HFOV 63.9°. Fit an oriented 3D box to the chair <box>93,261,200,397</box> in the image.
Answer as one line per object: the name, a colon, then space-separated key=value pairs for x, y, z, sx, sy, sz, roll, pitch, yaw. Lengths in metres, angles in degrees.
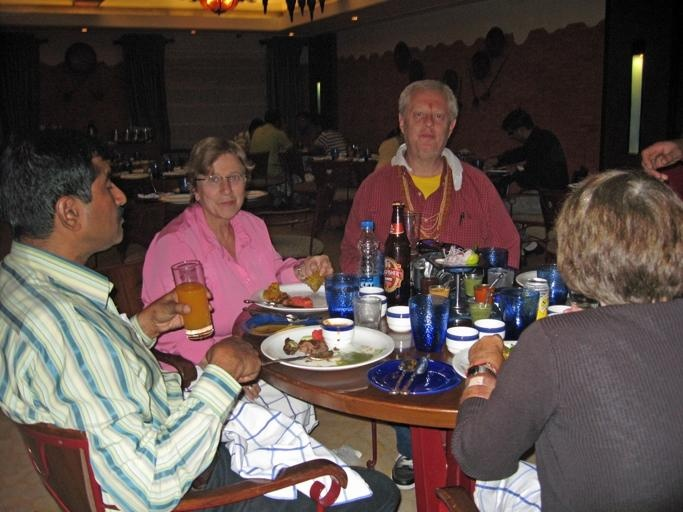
chair: x=-0.590 y=0.231 z=1.706 sx=0.281 sy=0.412 sz=0.253 roll=4 pitch=33 yaw=8

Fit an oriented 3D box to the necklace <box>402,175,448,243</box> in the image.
necklace: x=0.442 y=-0.265 z=2.863 sx=0.247 sy=0.351 sz=0.174 roll=-1 pitch=9 yaw=8

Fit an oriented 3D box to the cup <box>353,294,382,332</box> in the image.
cup: x=0.090 y=0.192 z=1.851 sx=0.102 sy=0.116 sz=0.107 roll=-2 pitch=6 yaw=0

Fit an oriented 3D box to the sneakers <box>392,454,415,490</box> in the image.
sneakers: x=0.273 y=0.983 z=2.586 sx=0.129 sy=0.131 sz=0.310 roll=0 pitch=-2 yaw=3

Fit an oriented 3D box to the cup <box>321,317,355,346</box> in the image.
cup: x=-0.012 y=0.237 z=1.715 sx=0.080 sy=0.060 sz=0.086 roll=0 pitch=-5 yaw=0

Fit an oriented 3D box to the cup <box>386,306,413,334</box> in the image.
cup: x=0.193 y=0.211 z=1.814 sx=0.079 sy=0.064 sz=0.090 roll=0 pitch=-3 yaw=8

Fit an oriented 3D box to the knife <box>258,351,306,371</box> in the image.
knife: x=-0.178 y=0.319 z=1.649 sx=0.181 sy=0.027 sz=0.027 roll=-6 pitch=46 yaw=-17

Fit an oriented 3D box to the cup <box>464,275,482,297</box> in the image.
cup: x=0.461 y=0.106 z=1.940 sx=0.069 sy=0.077 sz=0.075 roll=0 pitch=1 yaw=0

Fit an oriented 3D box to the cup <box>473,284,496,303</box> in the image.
cup: x=0.466 y=0.123 z=1.772 sx=0.055 sy=0.060 sz=0.057 roll=1 pitch=-4 yaw=0

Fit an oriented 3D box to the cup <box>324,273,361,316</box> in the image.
cup: x=0.003 y=0.132 z=1.948 sx=0.137 sy=0.159 sz=0.140 roll=0 pitch=4 yaw=0

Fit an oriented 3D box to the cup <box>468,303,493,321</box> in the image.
cup: x=0.449 y=0.178 z=1.756 sx=0.056 sy=0.047 sz=0.061 roll=1 pitch=-4 yaw=0

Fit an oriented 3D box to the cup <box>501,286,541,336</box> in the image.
cup: x=0.561 y=0.178 z=1.806 sx=0.139 sy=0.161 sz=0.144 roll=0 pitch=4 yaw=0

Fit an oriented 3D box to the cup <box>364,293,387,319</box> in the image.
cup: x=0.115 y=0.178 z=1.937 sx=0.072 sy=0.063 sz=0.084 roll=0 pitch=7 yaw=6

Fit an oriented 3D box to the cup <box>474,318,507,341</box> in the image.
cup: x=0.454 y=0.224 z=1.667 sx=0.064 sy=0.051 sz=0.069 roll=1 pitch=-3 yaw=0

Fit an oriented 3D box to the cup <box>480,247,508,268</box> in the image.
cup: x=0.577 y=0.005 z=2.087 sx=0.093 sy=0.058 sz=0.095 roll=0 pitch=0 yaw=0

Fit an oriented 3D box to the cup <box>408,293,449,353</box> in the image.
cup: x=0.228 y=0.203 z=1.671 sx=0.154 sy=0.181 sz=0.158 roll=-1 pitch=2 yaw=0

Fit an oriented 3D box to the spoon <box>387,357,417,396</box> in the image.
spoon: x=0.169 y=0.325 z=1.524 sx=0.032 sy=0.027 sz=0.187 roll=5 pitch=19 yaw=12

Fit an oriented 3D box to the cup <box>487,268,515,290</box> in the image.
cup: x=0.586 y=0.083 z=2.005 sx=0.079 sy=0.074 sz=0.100 roll=-1 pitch=1 yaw=3

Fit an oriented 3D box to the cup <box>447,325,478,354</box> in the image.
cup: x=0.363 y=0.250 z=1.650 sx=0.078 sy=0.060 sz=0.085 roll=-1 pitch=-1 yaw=0
